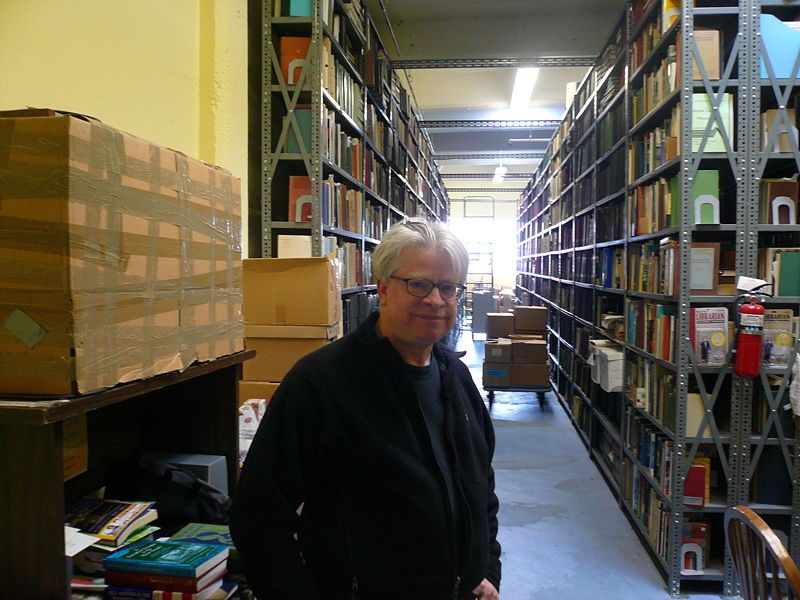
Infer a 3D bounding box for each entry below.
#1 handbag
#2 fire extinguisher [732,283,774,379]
[{"bbox_3d":[-0.781,0.624,2.177,0.335,0.129,0.264,5,7,2],"label":"handbag"},{"bbox_3d":[1.799,0.141,3.212,0.262,0.511,0.126,-3,6,-35],"label":"fire extinguisher"}]
